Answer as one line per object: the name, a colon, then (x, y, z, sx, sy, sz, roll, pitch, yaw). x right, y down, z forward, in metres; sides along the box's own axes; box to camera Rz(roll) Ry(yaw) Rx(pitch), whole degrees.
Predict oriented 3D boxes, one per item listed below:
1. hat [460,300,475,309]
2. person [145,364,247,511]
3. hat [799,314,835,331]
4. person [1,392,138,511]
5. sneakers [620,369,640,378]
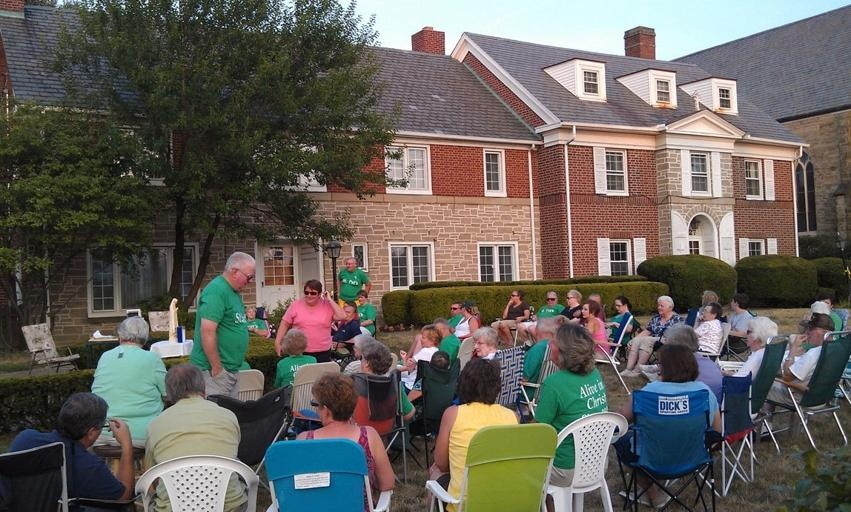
hat: (0.904, 1.031, 16.362, 0.221, 0.204, 0.173, -3, 9, -39)
person: (-3.026, 2.394, 10.024, 1.308, 1.927, 0.638, -1, -1, -11)
hat: (6.586, 1.121, 13.038, 0.588, 0.306, 0.420, -3, -3, 24)
person: (-4.537, 2.533, 10.093, 1.306, 1.450, 0.410, -1, -1, -28)
sneakers: (4.264, 2.445, 16.025, 0.292, 0.105, 0.167, 4, -5, -13)
